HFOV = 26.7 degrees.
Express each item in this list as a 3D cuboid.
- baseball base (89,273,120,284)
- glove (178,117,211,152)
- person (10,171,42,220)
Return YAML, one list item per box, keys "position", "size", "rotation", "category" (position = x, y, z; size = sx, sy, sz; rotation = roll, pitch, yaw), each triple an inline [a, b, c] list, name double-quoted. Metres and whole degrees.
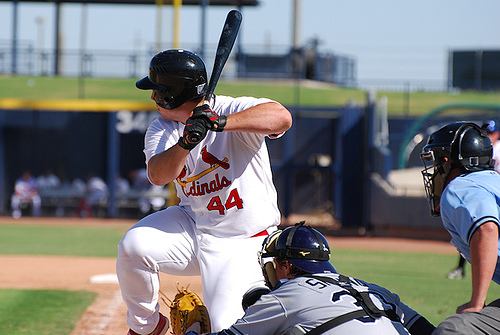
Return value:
- position: [-2.560, 1.946, 18.524]
  size: [0.485, 0.068, 0.565]
  rotation: [0, 6, -8]
  category: "baseball base"
- position: [-0.823, -0.519, 15.628]
  size: [0.352, 0.473, 0.205]
  rotation: [37, -10, 16]
  category: "glove"
- position: [-5.554, 0.738, 26.282]
  size: [0.879, 1.389, 0.842]
  rotation: [5, -24, -25]
  category: "person"
